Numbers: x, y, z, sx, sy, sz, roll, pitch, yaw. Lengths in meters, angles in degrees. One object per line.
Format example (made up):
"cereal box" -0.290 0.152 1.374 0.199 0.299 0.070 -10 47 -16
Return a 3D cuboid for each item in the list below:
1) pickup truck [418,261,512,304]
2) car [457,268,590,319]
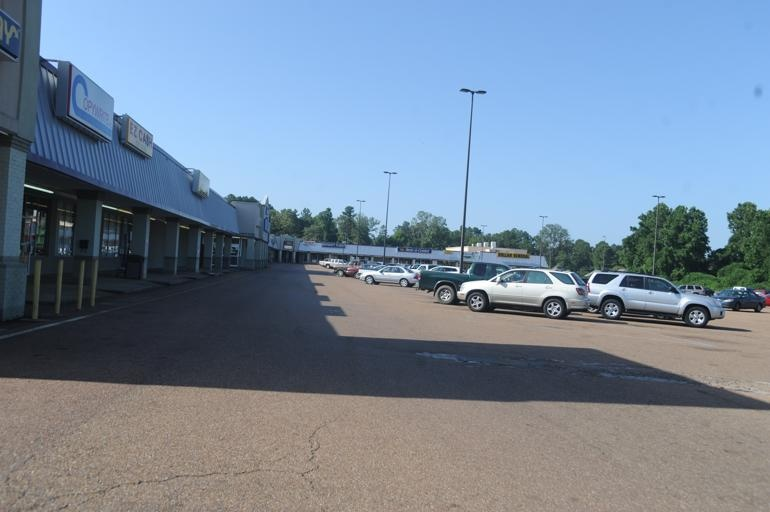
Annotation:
"pickup truck" 3.433 1.325 25.877 3.670 1.501 1.920 -2 0 6
"car" 5.759 1.410 23.221 4.213 1.772 2.020 5 -1 21
